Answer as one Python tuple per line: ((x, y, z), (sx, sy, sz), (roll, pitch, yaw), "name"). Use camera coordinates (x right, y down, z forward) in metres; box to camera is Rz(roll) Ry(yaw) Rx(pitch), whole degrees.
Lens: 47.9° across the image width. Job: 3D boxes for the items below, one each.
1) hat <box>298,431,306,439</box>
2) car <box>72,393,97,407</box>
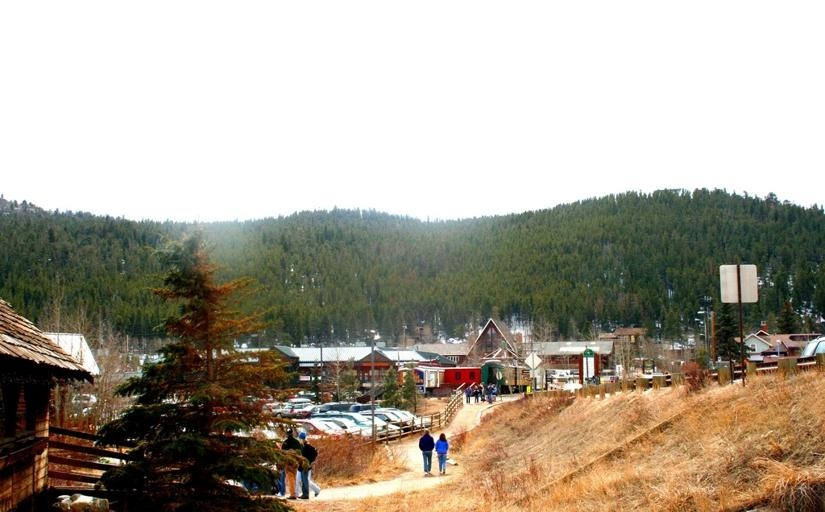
((-6.282, 10.197, 52.683), (0.488, 0.466, 0.694), (2, -7, -3), "hat")
((-22.345, 9.757, 63.053), (1.908, 0.995, 1.027), (5, -7, 3), "car")
